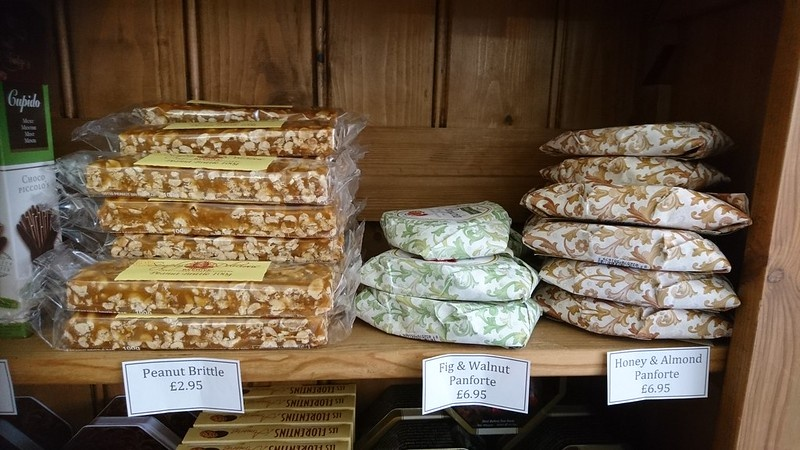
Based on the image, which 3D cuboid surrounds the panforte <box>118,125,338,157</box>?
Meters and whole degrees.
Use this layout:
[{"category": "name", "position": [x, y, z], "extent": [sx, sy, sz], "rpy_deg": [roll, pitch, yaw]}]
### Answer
[{"category": "panforte", "position": [-0.404, -0.196, 1.480], "extent": [0.537, 0.078, 0.163], "rpy_deg": [0, 8, 0]}]

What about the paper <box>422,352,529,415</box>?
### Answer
[{"category": "paper", "position": [0.176, 0.367, 1.413], "extent": [0.207, 0.099, 0.033], "rpy_deg": [0, 7, 1]}]
